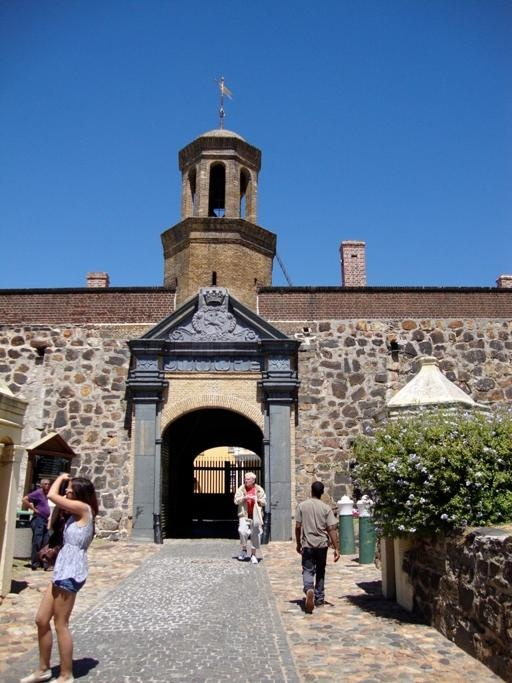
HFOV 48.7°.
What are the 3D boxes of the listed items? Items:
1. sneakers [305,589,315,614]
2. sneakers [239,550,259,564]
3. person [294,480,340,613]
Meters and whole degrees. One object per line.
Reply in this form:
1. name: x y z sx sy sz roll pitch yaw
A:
1. sneakers: 0.617 3.047 6.588 0.112 0.328 0.124 0 8 1
2. sneakers: -0.141 4.070 10.637 0.166 0.219 0.493 10 -19 -38
3. person: 0.740 2.498 6.927 0.511 1.483 0.704 -2 -13 6
